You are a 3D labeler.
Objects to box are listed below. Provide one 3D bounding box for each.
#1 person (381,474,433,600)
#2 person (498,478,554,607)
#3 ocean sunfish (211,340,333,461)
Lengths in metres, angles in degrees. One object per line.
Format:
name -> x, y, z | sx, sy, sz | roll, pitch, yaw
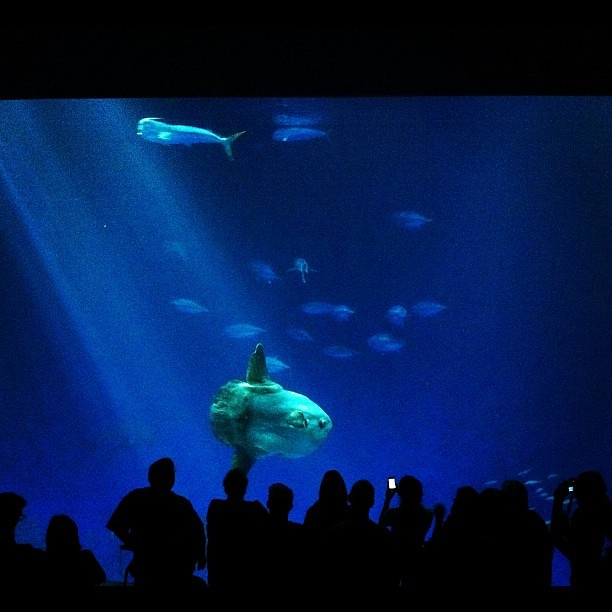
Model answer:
person -> 1.489, 3.408, 13.977 | 0.756, 1.589, 0.919 | -3, -32, 24
person -> 3.293, 3.559, 13.839 | 0.670, 1.704, 1.128 | 0, -31, 21
ocean sunfish -> -0.716, 2.022, 17.891 | 2.222, 2.257, 0.828 | 23, -31, -21
